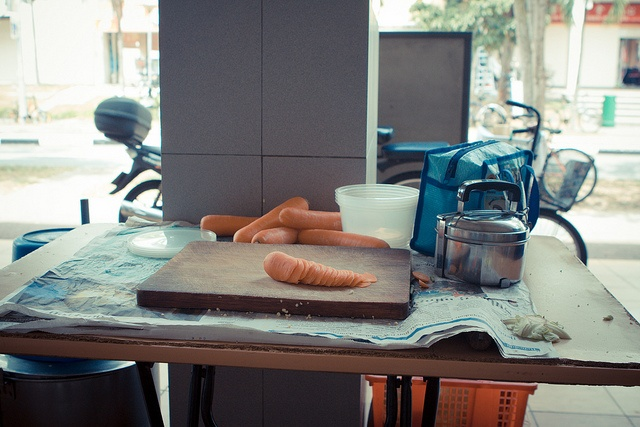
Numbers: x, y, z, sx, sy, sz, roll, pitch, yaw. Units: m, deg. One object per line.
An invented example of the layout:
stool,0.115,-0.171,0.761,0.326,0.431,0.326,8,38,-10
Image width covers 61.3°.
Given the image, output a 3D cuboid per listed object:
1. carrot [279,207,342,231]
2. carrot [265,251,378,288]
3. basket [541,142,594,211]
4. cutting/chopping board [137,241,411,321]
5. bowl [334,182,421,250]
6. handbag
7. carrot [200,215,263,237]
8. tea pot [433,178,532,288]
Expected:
carrot,-0.036,0.029,2.300,0.346,0.099,0.092,6,25,-20
carrot,-0.016,0.199,1.859,0.411,0.106,0.129,8,14,4
basket,1.903,-0.262,3.897,0.301,0.441,0.276,-2,-7,-4
cutting/chopping board,-0.132,0.224,1.963,0.881,0.056,0.577,4,13,-3
bowl,0.240,-0.009,2.347,0.383,0.265,0.334,2,8,7
handbag,0.582,-0.145,2.214,0.517,0.422,0.451,-10,18,-43
carrot,-0.415,0.051,2.437,0.328,0.092,0.090,-1,19,-11
tea pot,0.557,0.034,1.945,0.388,0.348,0.344,13,17,43
